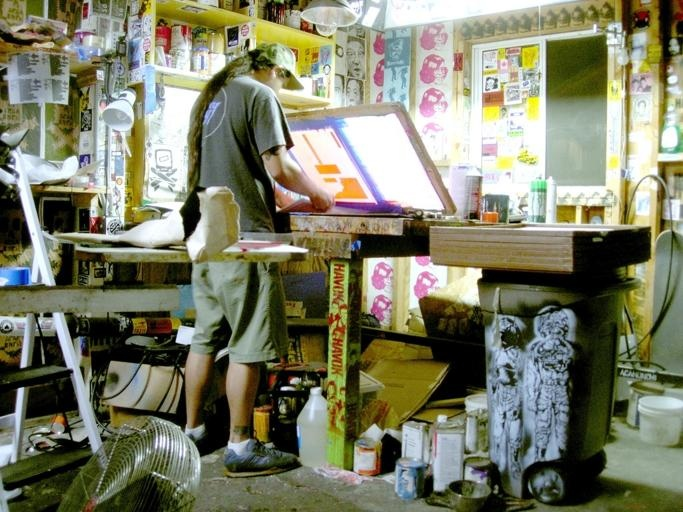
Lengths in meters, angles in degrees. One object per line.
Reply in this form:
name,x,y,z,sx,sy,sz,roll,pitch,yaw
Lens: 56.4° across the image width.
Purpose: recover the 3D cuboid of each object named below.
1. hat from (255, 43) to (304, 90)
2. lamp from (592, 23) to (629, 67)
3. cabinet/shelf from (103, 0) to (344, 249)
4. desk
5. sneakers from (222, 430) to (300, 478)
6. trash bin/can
hat,-0.331,-1.097,3.654,0.280,0.150,0.198,33,2,-39
lamp,2.113,-1.671,5.050,0.104,0.357,0.332,-13,10,-24
cabinet/shelf,-0.642,-0.560,3.439,1.065,1.229,0.602,3,0,-33
desk,0.801,0.216,3.536,1.447,1.179,1.494,6,11,41
sneakers,-0.442,1.079,3.451,0.415,0.213,0.160,0,-2,-13
trash bin/can,1.077,0.672,3.216,0.738,1.135,0.340,1,4,-13
